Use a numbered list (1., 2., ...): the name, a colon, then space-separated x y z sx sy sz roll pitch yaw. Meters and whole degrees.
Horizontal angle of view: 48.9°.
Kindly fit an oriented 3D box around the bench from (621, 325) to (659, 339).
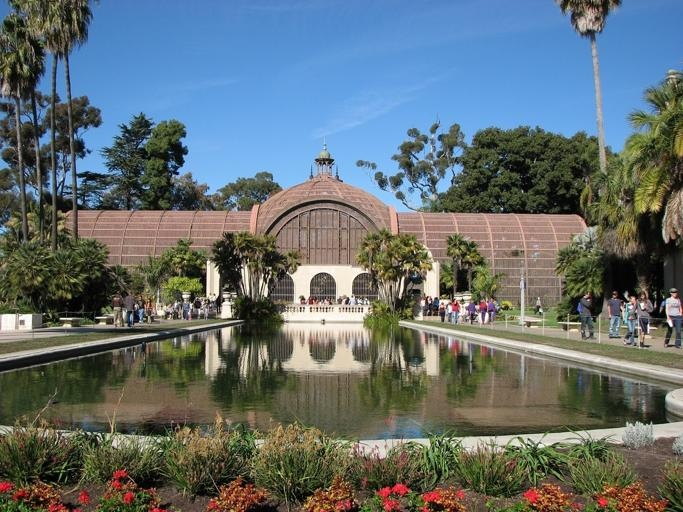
1. bench: 12.655 3.229 31.745 0.889 0.362 0.992 -1 -2 6

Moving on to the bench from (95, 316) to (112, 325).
1. bench: -13.441 3.593 42.386 0.935 0.426 1.414 2 -6 -21

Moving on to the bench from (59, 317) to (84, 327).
1. bench: -13.973 3.369 38.363 0.941 0.568 2.480 1 -6 -15
